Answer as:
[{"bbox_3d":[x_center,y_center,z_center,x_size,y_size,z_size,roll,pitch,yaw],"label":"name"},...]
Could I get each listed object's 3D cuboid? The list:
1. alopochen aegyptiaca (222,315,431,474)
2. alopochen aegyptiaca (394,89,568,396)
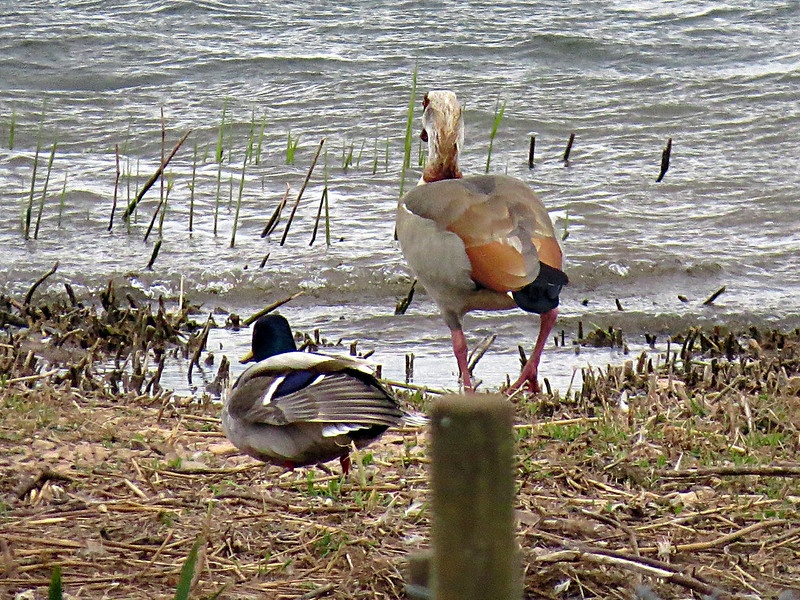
[{"bbox_3d":[-0.345,0.512,7.518,1.066,0.895,1.602,-9,-1,-35],"label":"alopochen aegyptiaca"},{"bbox_3d":[0.801,-0.467,9.839,2.040,1.981,1.727,-12,21,-32],"label":"alopochen aegyptiaca"}]
